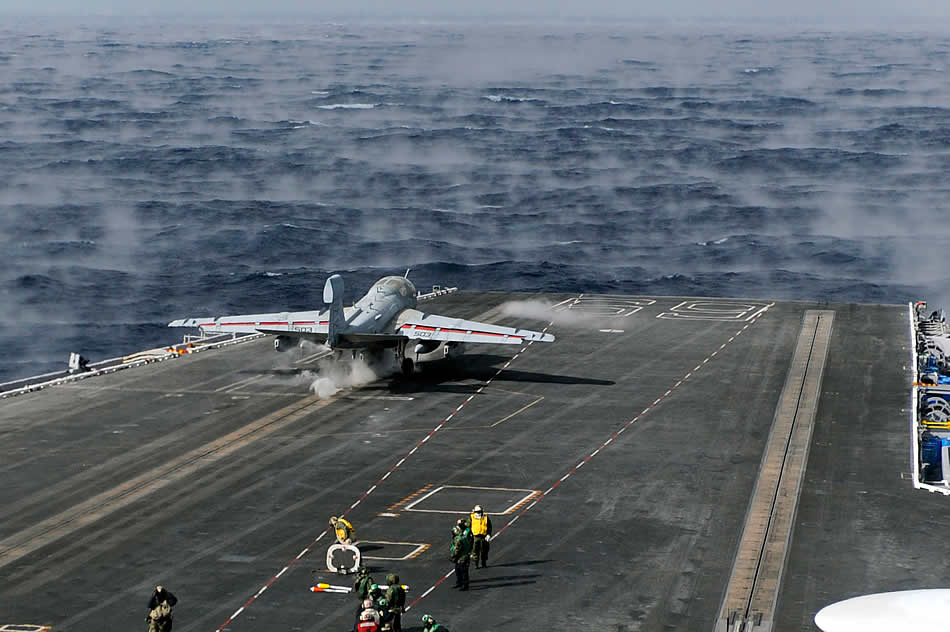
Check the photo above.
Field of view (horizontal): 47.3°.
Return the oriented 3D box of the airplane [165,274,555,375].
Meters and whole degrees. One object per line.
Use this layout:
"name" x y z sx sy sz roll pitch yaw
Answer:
"airplane" -7.764 0.587 87.118 24.051 4.108 13.137 2 11 13
